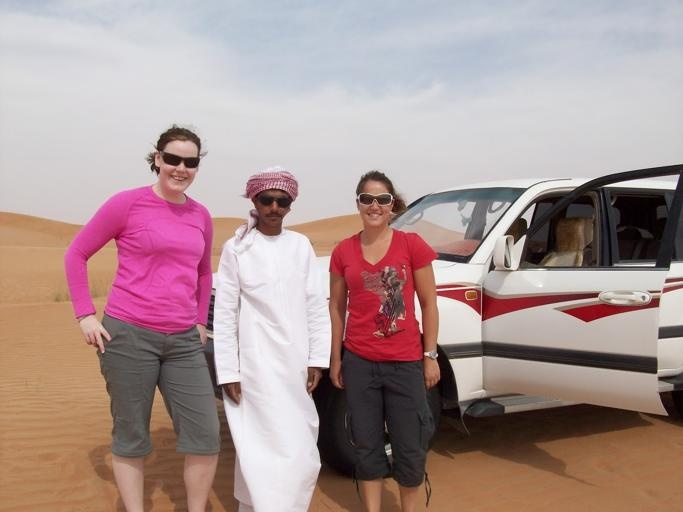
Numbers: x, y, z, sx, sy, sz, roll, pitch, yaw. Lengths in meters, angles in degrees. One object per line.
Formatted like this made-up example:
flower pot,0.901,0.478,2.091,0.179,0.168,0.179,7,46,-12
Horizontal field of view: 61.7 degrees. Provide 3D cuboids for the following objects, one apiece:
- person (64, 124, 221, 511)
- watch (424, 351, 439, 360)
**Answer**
person,-1.338,0.530,3.933,0.923,2.852,0.624,-1,6,-14
watch,0.646,0.713,4.096,0.093,0.058,0.094,2,-9,6
